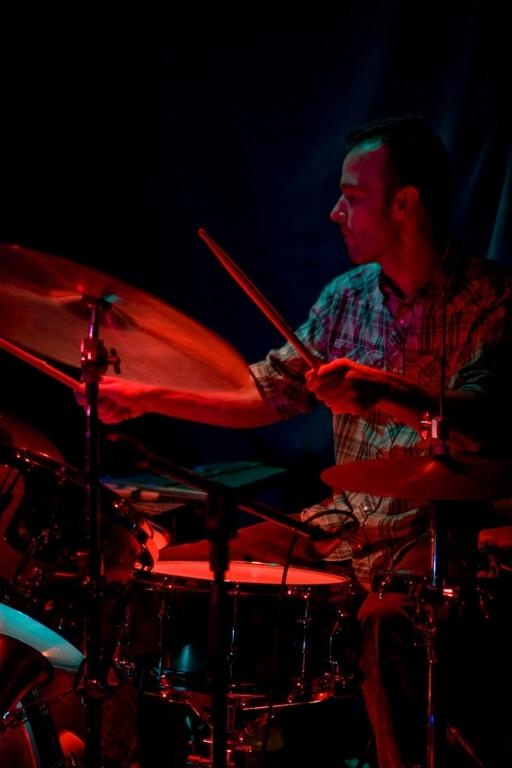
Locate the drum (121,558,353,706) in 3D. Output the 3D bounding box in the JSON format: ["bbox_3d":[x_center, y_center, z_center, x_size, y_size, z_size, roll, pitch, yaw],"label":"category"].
[{"bbox_3d":[-0.035,0.441,1.582,0.404,0.154,0.333,1,1,11],"label":"drum"}]
